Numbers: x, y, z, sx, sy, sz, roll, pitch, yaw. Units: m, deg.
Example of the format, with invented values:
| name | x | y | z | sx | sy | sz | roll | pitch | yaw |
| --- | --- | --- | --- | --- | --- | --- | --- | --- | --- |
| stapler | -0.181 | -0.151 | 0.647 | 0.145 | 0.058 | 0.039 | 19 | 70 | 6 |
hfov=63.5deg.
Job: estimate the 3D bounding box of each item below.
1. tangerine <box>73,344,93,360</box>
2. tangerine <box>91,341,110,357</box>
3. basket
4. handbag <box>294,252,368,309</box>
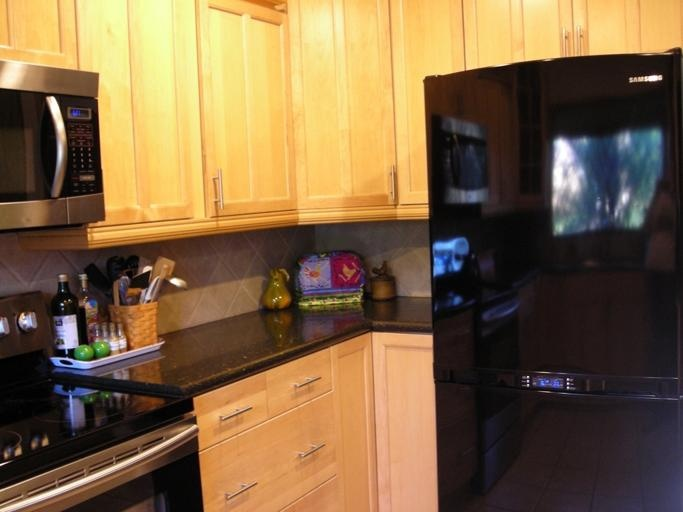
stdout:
| name | x | y | z | sx | sy | sz | roll | pitch | yaw |
| --- | --- | --- | --- | --- | --- | --- | --- | --- | --- |
| tangerine | -0.930 | 0.345 | 1.997 | 0.052 | 0.058 | 0.055 | -1 | 3 | 18 |
| tangerine | -0.886 | 0.341 | 2.024 | 0.052 | 0.055 | 0.056 | -1 | -3 | -16 |
| basket | -0.811 | 0.247 | 2.268 | 0.227 | 0.251 | 0.204 | -9 | -3 | 30 |
| handbag | -0.061 | 0.130 | 2.924 | 0.403 | 0.325 | 0.245 | -1 | 1 | -14 |
